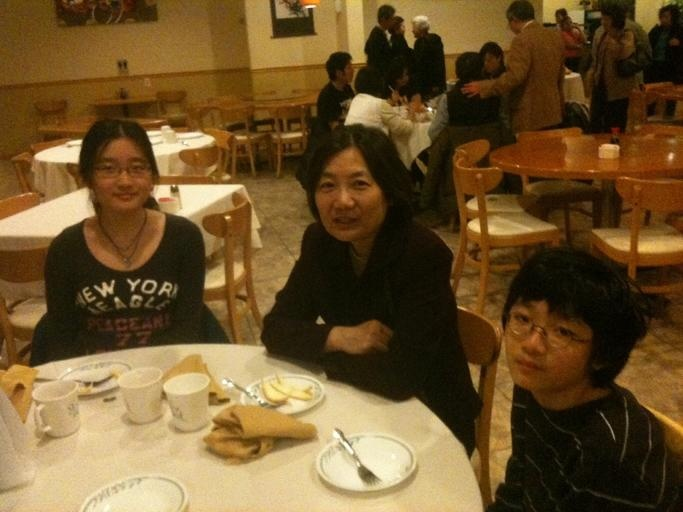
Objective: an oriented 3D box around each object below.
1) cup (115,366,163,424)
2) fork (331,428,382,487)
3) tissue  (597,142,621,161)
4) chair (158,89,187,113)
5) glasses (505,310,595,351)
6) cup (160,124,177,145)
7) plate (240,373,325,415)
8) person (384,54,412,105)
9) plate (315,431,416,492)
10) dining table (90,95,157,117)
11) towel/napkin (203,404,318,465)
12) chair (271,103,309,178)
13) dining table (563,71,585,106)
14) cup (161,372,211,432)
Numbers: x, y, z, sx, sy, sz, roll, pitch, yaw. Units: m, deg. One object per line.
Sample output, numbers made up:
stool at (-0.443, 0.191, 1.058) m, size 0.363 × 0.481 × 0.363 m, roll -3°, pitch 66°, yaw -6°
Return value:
cup at (-0.467, 0.355, 1.401) m, size 0.113 × 0.122 × 0.133 m, roll -2°, pitch 7°, yaw -1°
fork at (0.043, 0.460, 1.225) m, size 0.043 × 0.013 × 0.147 m, roll -15°, pitch 27°, yaw -18°
tissue  at (1.855, -0.751, 3.777) m, size 0.123 × 0.095 × 0.134 m, roll 2°, pitch 21°, yaw 14°
chair at (-3.151, -3.163, 10.758) m, size 0.498 × 0.773 × 0.512 m, roll -3°, pitch 18°, yaw -12°
glasses at (0.499, 0.175, 1.290) m, size 0.178 × 0.061 × 0.191 m, roll 20°, pitch 9°, yaw 42°
cup at (-1.708, -1.316, 5.819) m, size 0.161 × 0.211 × 0.282 m, roll -14°, pitch 31°, yaw -19°
plate at (-0.119, 0.374, 1.466) m, size 0.114 × 0.021 × 0.120 m, roll 8°, pitch 25°, yaw 15°
person at (0.805, -2.396, 7.488) m, size 0.327 × 0.818 × 0.637 m, roll 7°, pitch 52°, yaw 9°
plate at (0.065, 0.472, 1.219) m, size 0.212 × 0.040 × 0.159 m, roll -5°, pitch 18°, yaw -1°
dining table at (-4.025, -2.991, 10.679) m, size 1.218 × 0.426 × 1.022 m, roll -11°, pitch 19°, yaw -19°
towel/napkin at (-0.170, 0.389, 1.266) m, size 0.174 × 0.091 × 0.137 m, roll -1°, pitch 14°, yaw -32°
chair at (-0.677, -1.793, 8.283) m, size 0.643 × 1.061 × 0.730 m, roll 3°, pitch 15°, yaw 24°
dining table at (3.551, -2.625, 8.316) m, size 0.266 × 0.548 × 0.953 m, roll 3°, pitch 19°, yaw 23°
cup at (-0.351, 0.372, 1.396) m, size 0.115 × 0.124 × 0.131 m, roll -1°, pitch 17°, yaw 11°
